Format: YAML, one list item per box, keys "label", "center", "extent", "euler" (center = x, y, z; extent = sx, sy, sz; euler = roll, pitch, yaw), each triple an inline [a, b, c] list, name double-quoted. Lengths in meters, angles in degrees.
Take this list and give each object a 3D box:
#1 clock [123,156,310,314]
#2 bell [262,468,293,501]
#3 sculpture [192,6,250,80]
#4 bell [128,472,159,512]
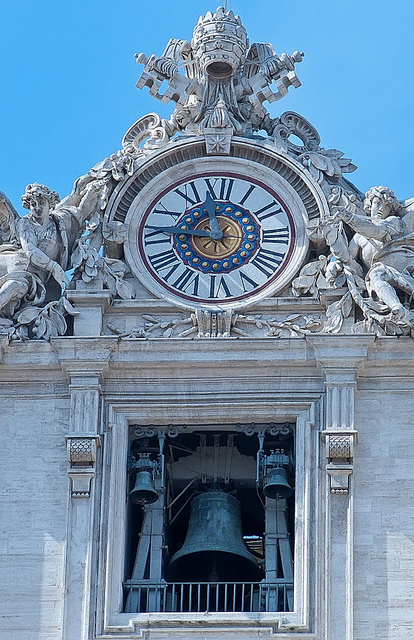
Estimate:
- label: "clock"
  center: [0.128, -1.145, 20.693]
  extent: [2.249, 2.339, 0.362]
  euler: [-1, -26, 4]
- label: "bell"
  center: [0.855, 1.854, 19.037]
  extent: [0.310, 0.340, 0.328]
  euler: [-4, -47, 13]
- label: "sculpture"
  center: [0.194, -3.752, 21.950]
  extent: [0.739, 0.988, 0.455]
  euler: [1, -26, -1]
- label: "bell"
  center: [-0.718, 1.968, 19.014]
  extent: [0.341, 0.399, 0.341]
  euler: [3, -52, -1]
